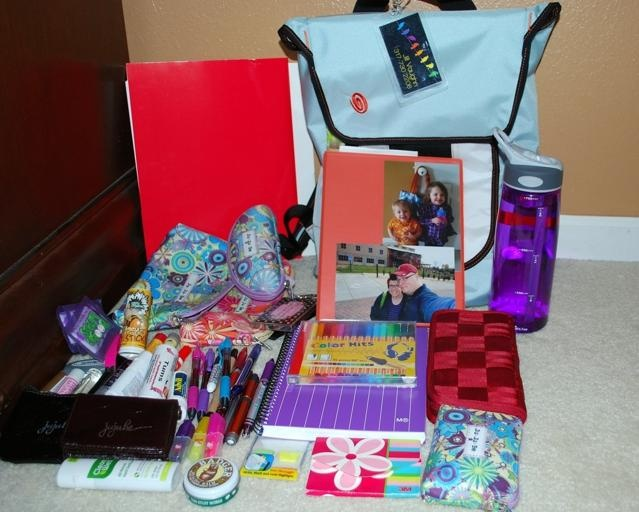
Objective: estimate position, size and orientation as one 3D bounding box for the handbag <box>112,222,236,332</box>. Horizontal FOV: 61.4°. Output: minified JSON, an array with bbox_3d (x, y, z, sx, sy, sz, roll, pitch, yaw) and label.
[{"bbox_3d":[-0.258,0.048,0.959,0.163,0.067,0.217,28,66,6],"label":"handbag"}]

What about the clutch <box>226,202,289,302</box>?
[{"bbox_3d":[-0.099,0.014,0.966,0.117,0.072,0.224,-20,57,16],"label":"clutch"}]

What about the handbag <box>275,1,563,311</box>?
[{"bbox_3d":[0.182,-0.175,0.918,0.492,0.558,0.177,0,9,3],"label":"handbag"}]
